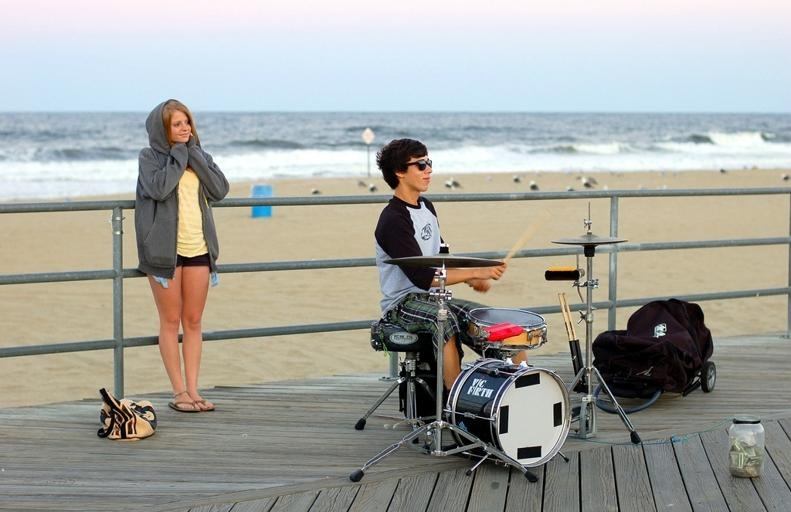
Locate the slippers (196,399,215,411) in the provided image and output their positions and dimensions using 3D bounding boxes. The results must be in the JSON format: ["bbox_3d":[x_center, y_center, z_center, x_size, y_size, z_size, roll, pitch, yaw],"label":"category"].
[{"bbox_3d":[-5.995,4.705,44.800,0.635,0.141,0.273,9,19,23],"label":"slippers"}]

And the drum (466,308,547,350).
[{"bbox_3d":[3.491,2.441,43.698,2.754,1.568,1.360,1,1,-9],"label":"drum"}]
